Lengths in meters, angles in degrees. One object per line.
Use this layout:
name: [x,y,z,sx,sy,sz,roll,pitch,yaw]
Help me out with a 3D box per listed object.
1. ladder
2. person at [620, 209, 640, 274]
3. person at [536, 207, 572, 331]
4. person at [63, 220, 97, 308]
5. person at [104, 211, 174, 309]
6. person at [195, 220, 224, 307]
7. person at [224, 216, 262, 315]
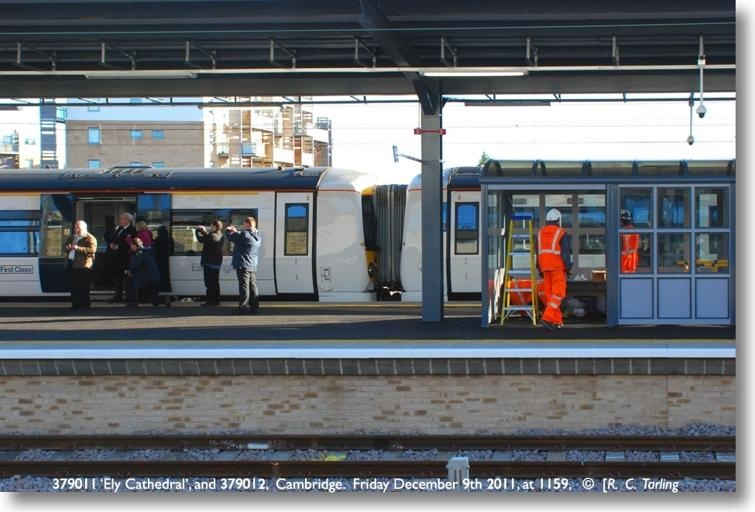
ladder: [3.163,0.279,40.760,0.923,2.399,0.790,0,-1,8]
person: [5.471,-0.325,39.848,0.405,1.386,0.117,0,3,10]
person: [3.832,0.220,39.778,0.899,2.637,1.251,1,9,5]
person: [-6.924,0.183,43.589,0.802,2.004,0.662,2,-6,-32]
person: [-5.717,0.086,44.382,1.010,2.263,1.340,-3,4,-31]
person: [-3.983,0.124,44.032,0.736,1.903,0.739,4,4,32]
person: [-3.056,0.198,42.270,0.843,2.054,0.826,0,0,23]
